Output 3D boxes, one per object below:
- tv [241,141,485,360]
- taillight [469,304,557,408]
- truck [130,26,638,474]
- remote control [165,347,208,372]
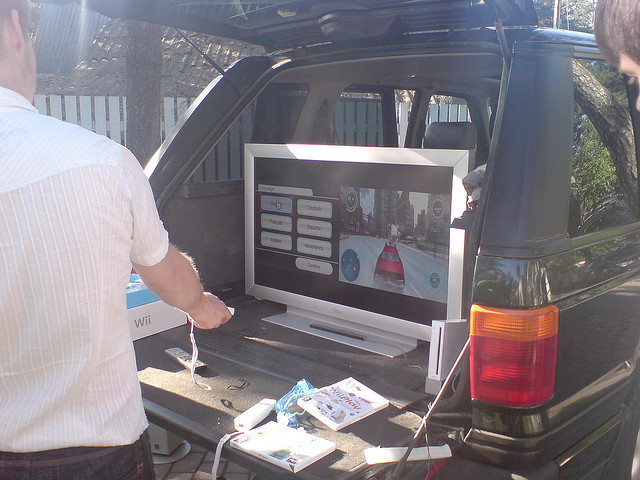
[{"bbox_3d":[0.243,0.072,2.905,1.108,0.847,0.335,9,11,38],"label":"tv"},{"bbox_3d":[0.746,0.387,1.894,0.250,0.383,0.325,3,10,31],"label":"taillight"},{"bbox_3d":[0.717,0.035,3.078,2.154,1.775,3.284,7,15,36],"label":"truck"},{"bbox_3d":[-0.724,0.628,2.705,0.091,0.033,0.298,-21,36,-40],"label":"remote control"}]
